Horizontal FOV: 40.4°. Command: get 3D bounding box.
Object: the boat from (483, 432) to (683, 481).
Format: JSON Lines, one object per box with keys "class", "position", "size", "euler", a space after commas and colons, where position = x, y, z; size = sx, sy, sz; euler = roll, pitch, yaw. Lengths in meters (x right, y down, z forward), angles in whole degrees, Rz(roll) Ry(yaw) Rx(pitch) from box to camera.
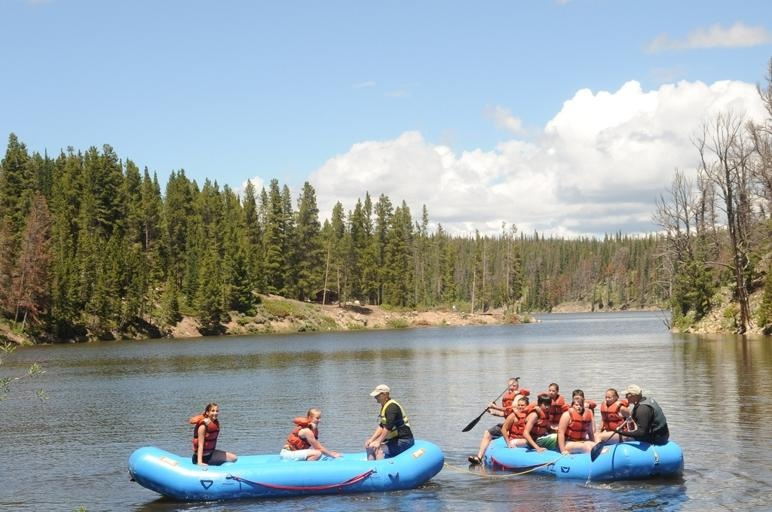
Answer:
{"class": "boat", "position": [12.731, 12.650, 65.016], "size": [18.705, 2.020, 6.305], "euler": [0, 0, 5]}
